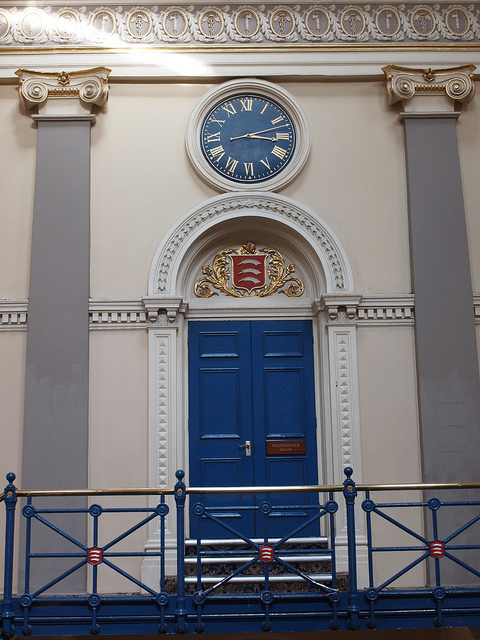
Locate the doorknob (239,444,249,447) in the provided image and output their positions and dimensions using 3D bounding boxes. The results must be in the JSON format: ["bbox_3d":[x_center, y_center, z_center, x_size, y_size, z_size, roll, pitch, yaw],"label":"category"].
[{"bbox_3d":[0.032,1.099,9.711,0.081,0.021,0.022,-3,10,-5],"label":"doorknob"}]

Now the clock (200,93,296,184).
[{"bbox_3d":[0.050,-1.601,10.014,0.839,0.835,0.078,0,-8,-2],"label":"clock"}]
